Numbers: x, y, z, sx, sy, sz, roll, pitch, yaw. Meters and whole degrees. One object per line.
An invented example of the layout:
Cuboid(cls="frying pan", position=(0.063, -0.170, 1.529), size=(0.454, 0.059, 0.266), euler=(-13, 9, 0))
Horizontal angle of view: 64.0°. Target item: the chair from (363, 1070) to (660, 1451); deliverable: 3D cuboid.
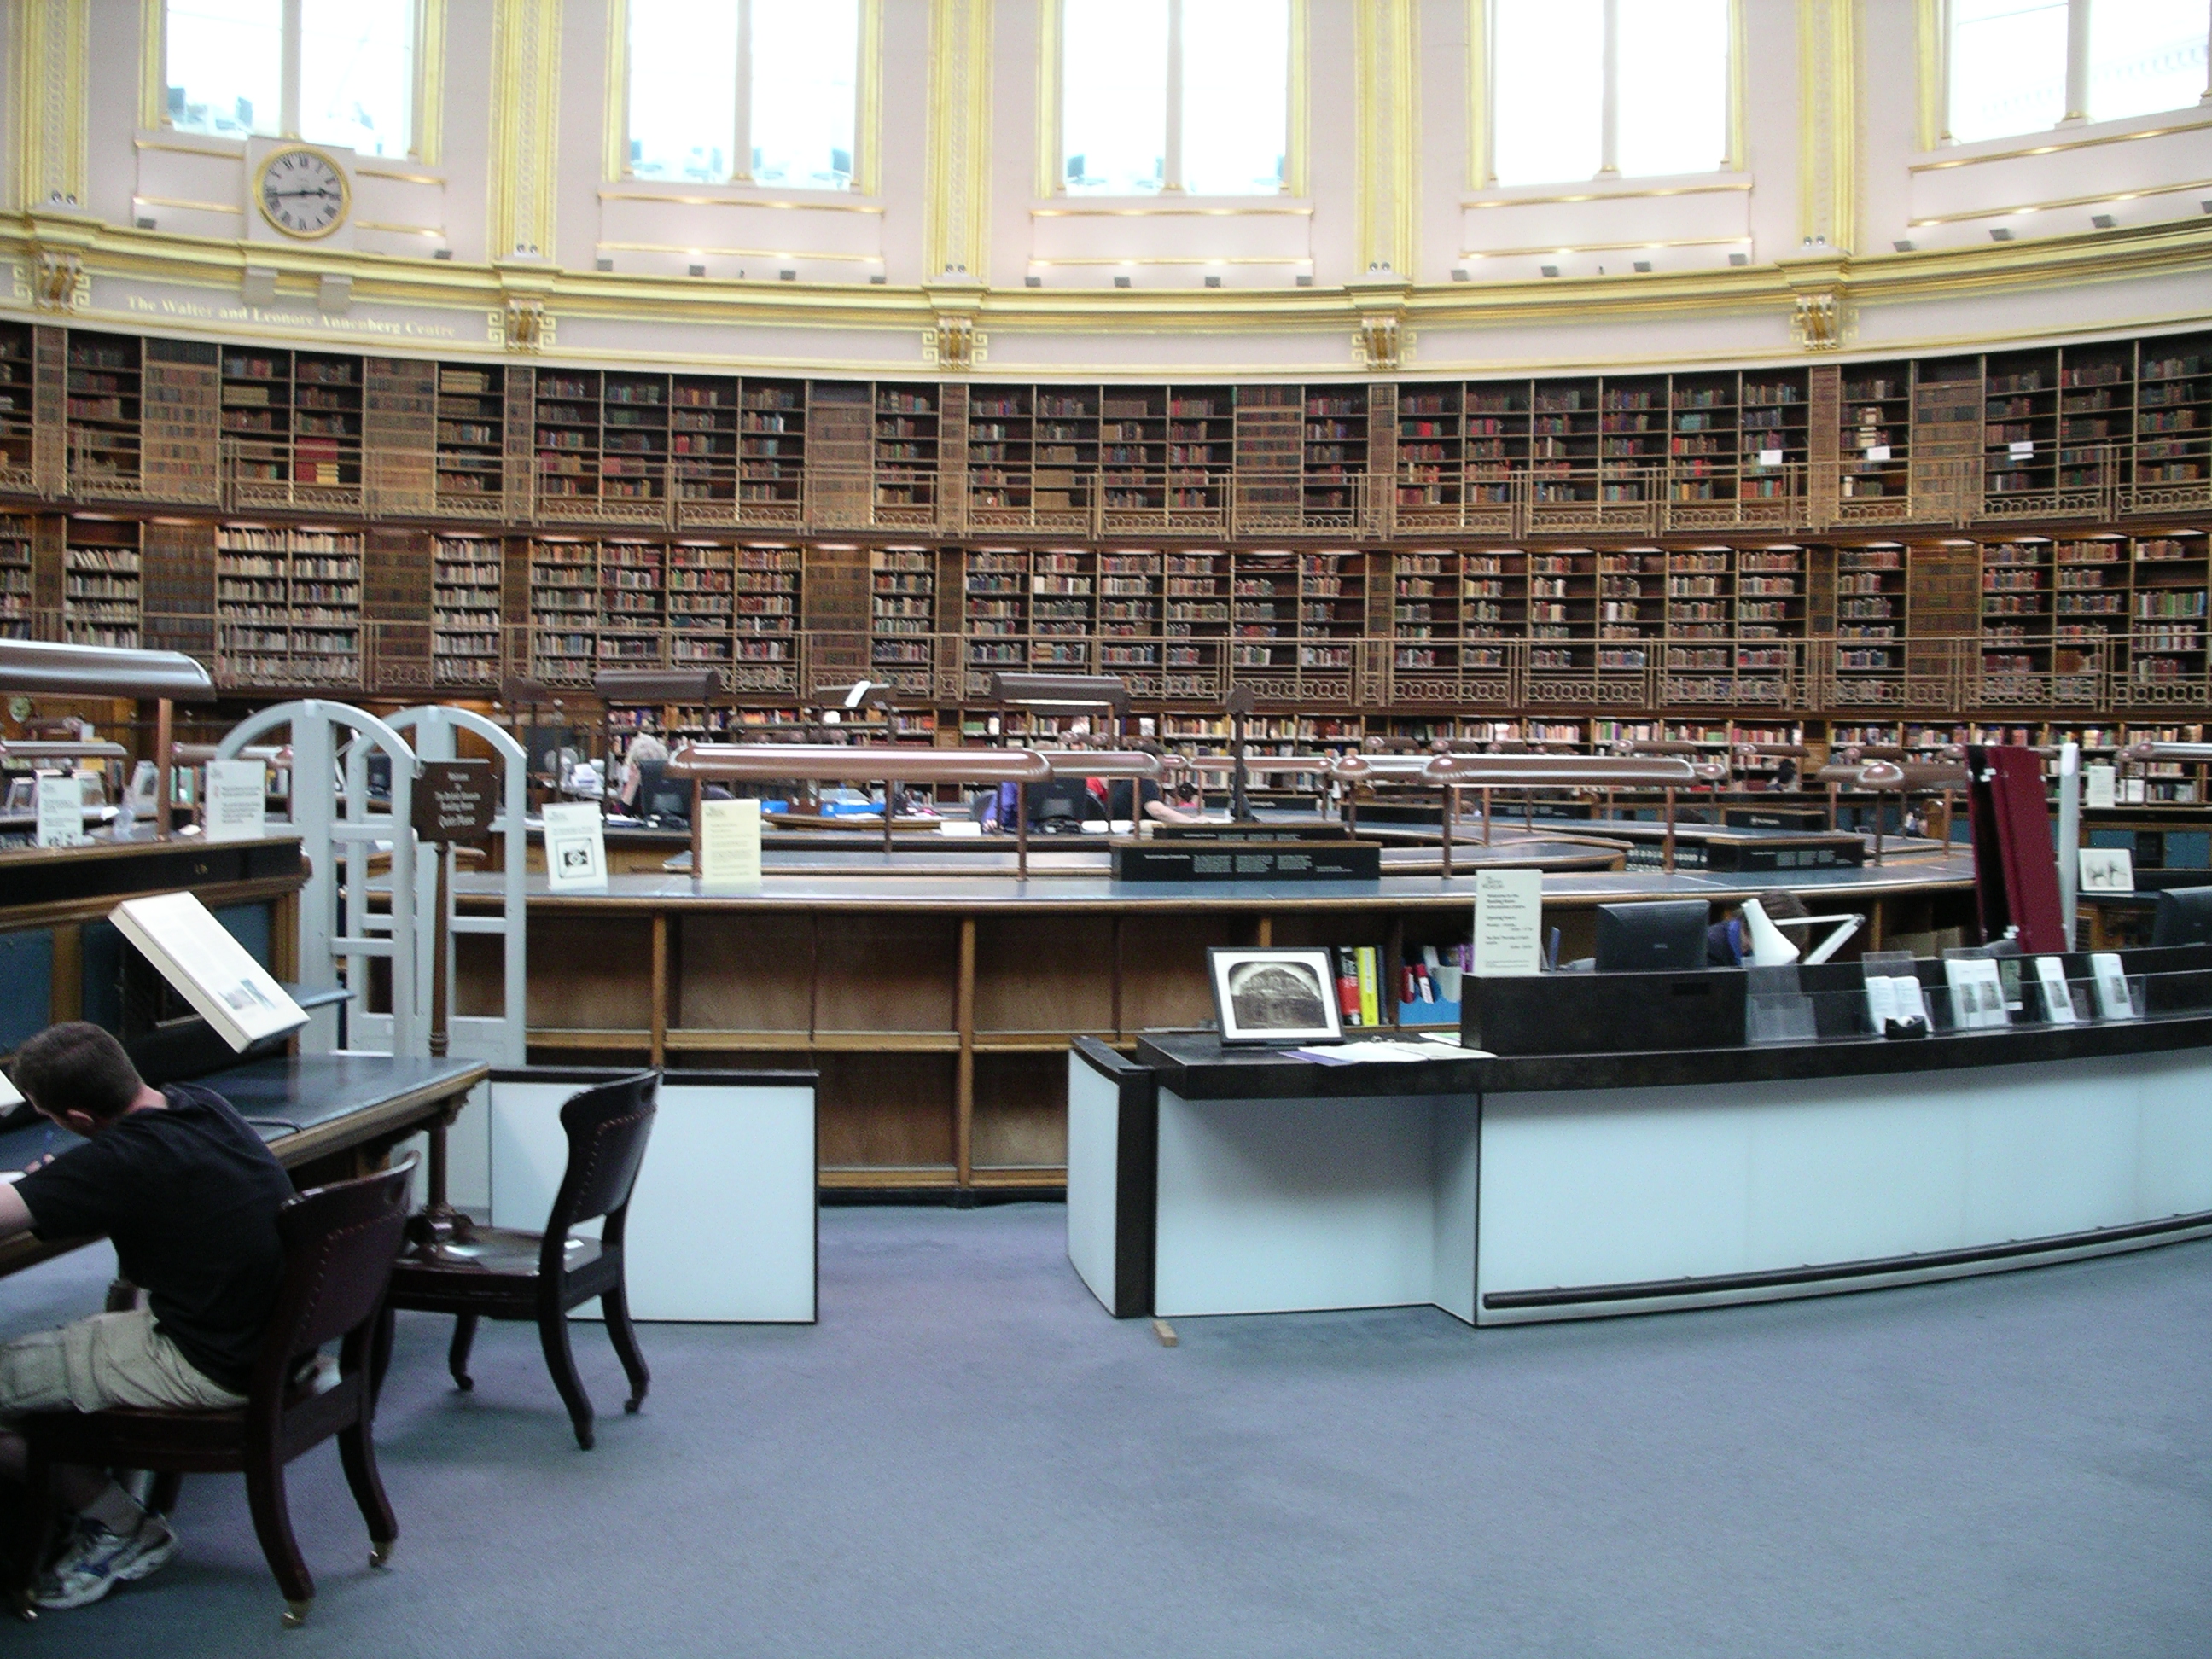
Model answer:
Cuboid(cls="chair", position=(-1.491, 1.067, 4.588), size=(0.608, 0.952, 0.462), euler=(3, 15, 7))

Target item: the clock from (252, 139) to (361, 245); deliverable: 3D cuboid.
Cuboid(cls="clock", position=(-6.805, -5.345, 14.983), size=(0.746, 0.774, 0.188), euler=(-5, 16, -23))

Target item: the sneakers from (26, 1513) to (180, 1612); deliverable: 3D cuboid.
Cuboid(cls="sneakers", position=(-2.211, 1.617, 3.919), size=(0.097, 0.129, 0.277), euler=(-5, -1, 41))

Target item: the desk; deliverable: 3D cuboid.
Cuboid(cls="desk", position=(-1.970, 0.837, 4.072), size=(0.375, 0.241, 0.961), euler=(1, -1, 8))

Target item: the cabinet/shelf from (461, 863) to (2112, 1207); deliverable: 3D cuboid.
Cuboid(cls="cabinet/shelf", position=(-0.221, 0.692, 6.810), size=(3.869, 1.112, 0.894), euler=(-3, 15, -13))
